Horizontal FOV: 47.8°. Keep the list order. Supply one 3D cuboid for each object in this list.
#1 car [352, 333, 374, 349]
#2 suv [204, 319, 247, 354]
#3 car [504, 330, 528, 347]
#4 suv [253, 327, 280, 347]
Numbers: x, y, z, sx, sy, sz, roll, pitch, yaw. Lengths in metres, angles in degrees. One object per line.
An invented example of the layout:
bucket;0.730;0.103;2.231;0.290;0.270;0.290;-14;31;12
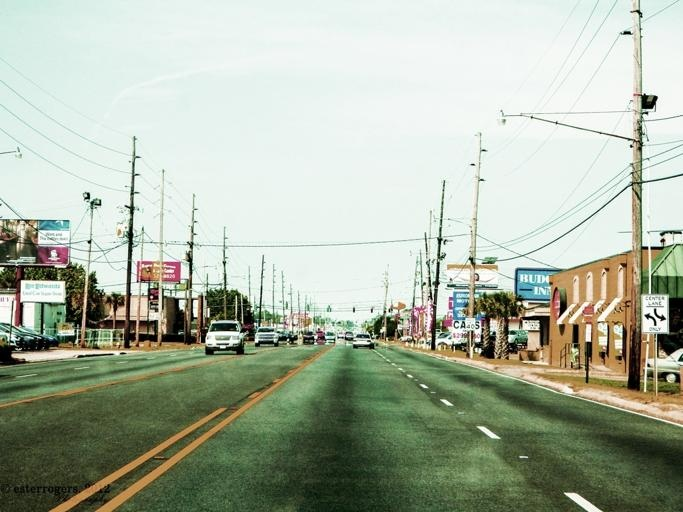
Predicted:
car;2.200;8.700;79.172;1.914;1.778;3.465;0;-11;3
suv;-7.180;4.957;48.677;1.286;1.438;2.883;1;2;-2
car;17.775;8.185;77.950;2.173;1.241;3.651;2;-6;4
suv;-7.819;8.362;80.711;2.235;2.341;5.274;2;-11;-8
